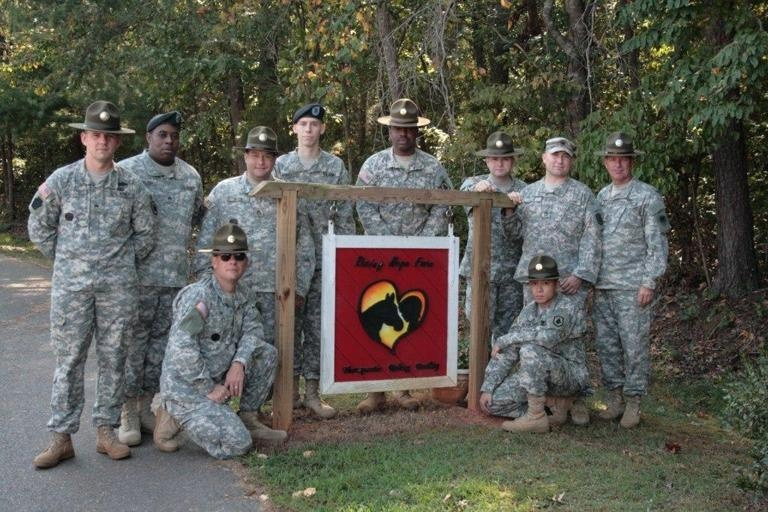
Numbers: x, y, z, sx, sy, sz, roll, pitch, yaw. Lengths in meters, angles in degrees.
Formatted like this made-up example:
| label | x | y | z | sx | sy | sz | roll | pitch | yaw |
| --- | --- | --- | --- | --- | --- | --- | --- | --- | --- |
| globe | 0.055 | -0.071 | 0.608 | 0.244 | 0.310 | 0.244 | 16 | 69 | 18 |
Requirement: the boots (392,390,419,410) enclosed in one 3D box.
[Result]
| label | x | y | z | sx | sy | sz | roll | pitch | yaw |
| --- | --- | --- | --- | --- | --- | --- | --- | --- | --- |
| boots | 0.304 | 1.997 | 12.247 | 0.188 | 0.167 | 0.331 | -14 | 17 | -30 |

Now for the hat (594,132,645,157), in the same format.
| label | x | y | z | sx | sy | sz | roll | pitch | yaw |
| --- | --- | --- | --- | --- | --- | --- | --- | --- | --- |
| hat | 3.157 | -1.515 | 11.937 | 0.504 | 0.343 | 0.384 | -1 | 0 | 15 |

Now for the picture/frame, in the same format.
| label | x | y | z | sx | sy | sz | roll | pitch | yaw |
| --- | --- | --- | --- | --- | --- | --- | --- | --- | --- |
| picture/frame | 0.027 | 0.720 | 11.608 | 2.245 | 2.217 | 0.306 | 1 | 3 | -17 |

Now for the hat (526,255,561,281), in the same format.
| label | x | y | z | sx | sy | sz | roll | pitch | yaw |
| --- | --- | --- | --- | --- | --- | --- | --- | --- | --- |
| hat | 2.068 | 0.146 | 11.554 | 0.386 | 0.315 | 0.192 | -1 | 0 | 11 |

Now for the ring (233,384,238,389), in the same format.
| label | x | y | z | sx | sy | sz | roll | pitch | yaw |
| --- | --- | --- | --- | --- | --- | --- | --- | --- | --- |
| ring | -1.794 | 1.572 | 10.727 | 0.058 | 0.053 | 0.013 | 9 | 1 | -1 |

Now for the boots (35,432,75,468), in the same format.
| label | x | y | z | sx | sy | sz | roll | pitch | yaw |
| --- | --- | --- | --- | --- | --- | --- | --- | --- | --- |
| boots | -3.921 | 2.272 | 10.540 | 0.191 | 0.352 | 0.534 | 5 | 11 | 32 |

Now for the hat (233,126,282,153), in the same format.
| label | x | y | z | sx | sy | sz | roll | pitch | yaw |
| --- | --- | --- | --- | --- | --- | --- | --- | --- | --- |
| hat | -1.586 | -1.511 | 11.498 | 0.418 | 0.308 | 0.300 | -1 | 0 | -3 |

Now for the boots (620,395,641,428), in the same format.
| label | x | y | z | sx | sy | sz | roll | pitch | yaw |
| --- | --- | --- | --- | --- | --- | --- | --- | --- | --- |
| boots | 3.246 | 2.048 | 11.709 | 0.286 | 0.413 | 0.170 | 0 | 0 | -42 |

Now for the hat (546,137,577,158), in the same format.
| label | x | y | z | sx | sy | sz | roll | pitch | yaw |
| --- | --- | --- | --- | --- | --- | --- | --- | --- | --- |
| hat | 2.353 | -1.457 | 11.835 | 0.397 | 0.254 | 0.251 | -1 | 0 | 6 |

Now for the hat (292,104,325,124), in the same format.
| label | x | y | z | sx | sy | sz | roll | pitch | yaw |
| --- | --- | --- | --- | --- | --- | --- | --- | --- | --- |
| hat | -0.997 | -1.900 | 11.732 | 0.407 | 0.234 | 0.324 | -1 | 0 | 5 |

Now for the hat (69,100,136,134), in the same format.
| label | x | y | z | sx | sy | sz | roll | pitch | yaw |
| --- | --- | --- | --- | --- | --- | --- | --- | --- | --- |
| hat | -3.450 | -1.683 | 10.798 | 0.577 | 0.204 | 0.557 | 5 | 8 | -26 |

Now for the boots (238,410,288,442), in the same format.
| label | x | y | z | sx | sy | sz | roll | pitch | yaw |
| --- | --- | --- | --- | --- | --- | --- | --- | --- | --- |
| boots | -1.521 | 2.127 | 11.120 | 0.754 | 0.437 | 0.258 | 1 | 3 | -13 |
